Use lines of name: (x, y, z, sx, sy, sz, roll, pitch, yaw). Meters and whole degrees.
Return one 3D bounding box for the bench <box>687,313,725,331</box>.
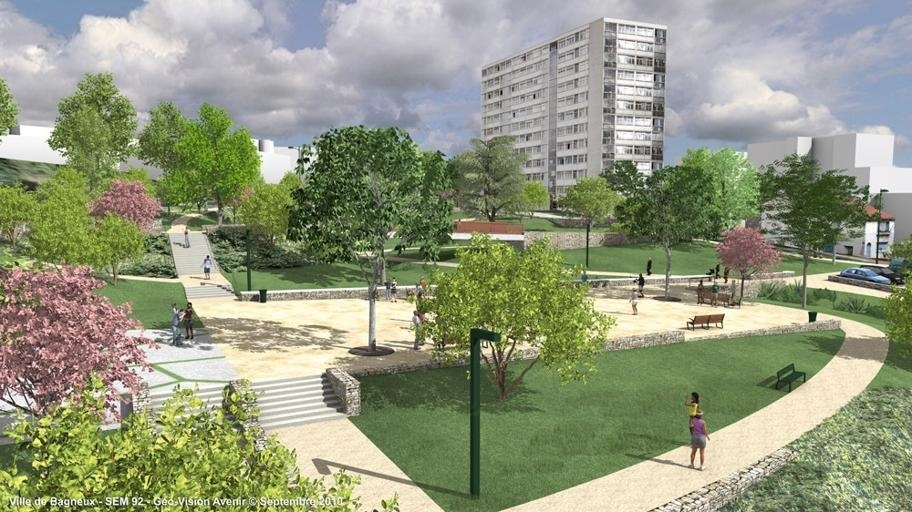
bench: (20.357, 5.304, 53.998, 3.270, 1.261, 1.318, 0, 4, -13)
